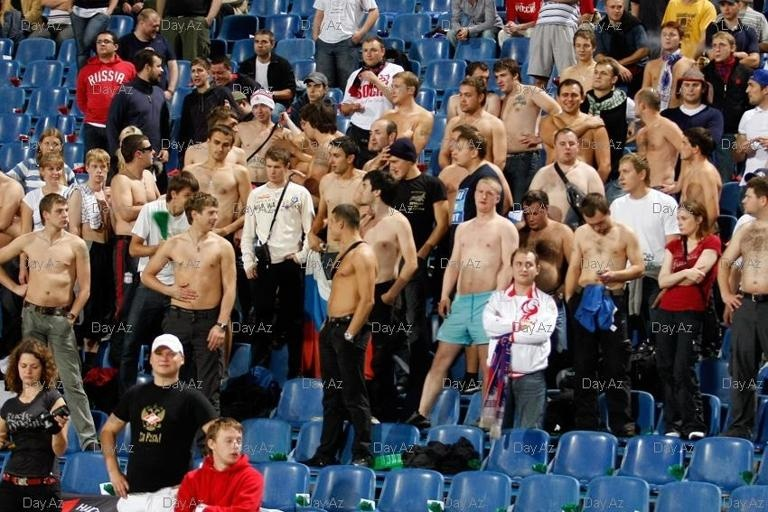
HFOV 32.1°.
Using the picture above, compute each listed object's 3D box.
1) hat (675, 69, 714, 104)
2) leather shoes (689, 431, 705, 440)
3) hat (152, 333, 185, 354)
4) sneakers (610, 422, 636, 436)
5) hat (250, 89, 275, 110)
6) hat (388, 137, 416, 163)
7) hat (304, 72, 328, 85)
[{"bbox_3d":[4.189,-2.438,18.124,0.464,0.513,0.558,-1,-27,16],"label":"hat"},{"bbox_3d":[3.685,2.114,15.777,0.116,0.039,0.107,-6,4,10],"label":"leather shoes"},{"bbox_3d":[-2.414,0.944,14.922,0.313,0.225,0.474,0,15,-10],"label":"hat"},{"bbox_3d":[2.852,2.060,15.966,0.200,0.136,0.156,1,-6,34],"label":"sneakers"},{"bbox_3d":[-1.645,-2.147,18.138,0.247,0.236,0.307,0,-6,1],"label":"hat"},{"bbox_3d":[0.224,-1.360,16.842,0.314,0.235,0.307,17,2,-16],"label":"hat"},{"bbox_3d":[-0.910,-2.535,18.800,0.197,0.147,0.287,1,-12,23],"label":"hat"}]
